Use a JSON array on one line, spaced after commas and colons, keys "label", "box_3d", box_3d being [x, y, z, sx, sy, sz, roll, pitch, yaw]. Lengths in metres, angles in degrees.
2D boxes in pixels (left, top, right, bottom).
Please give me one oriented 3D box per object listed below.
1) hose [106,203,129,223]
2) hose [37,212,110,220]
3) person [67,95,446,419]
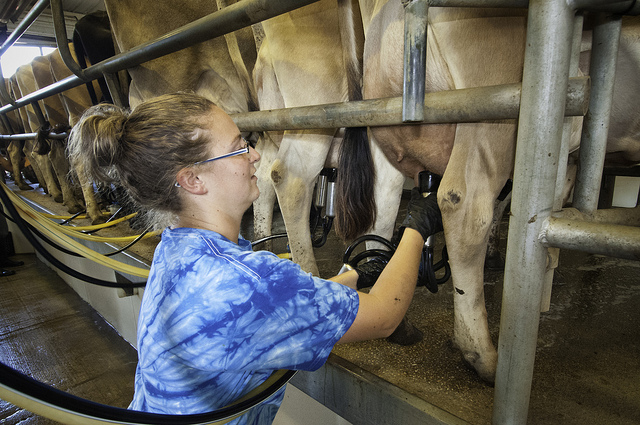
[{"label": "hose", "box_3d": [-2.080, 0.005, 4.978, 0.409, 0.052, 0.052, -30, 9, 30]}, {"label": "hose", "box_3d": [-2.663, 0.044, 5.196, 0.467, 0.022, 0.352, -3, 8, -39]}, {"label": "person", "box_3d": [-0.354, 0.198, 1.943, 1.469, 1.270, 0.582, 6, 10, 11]}]
